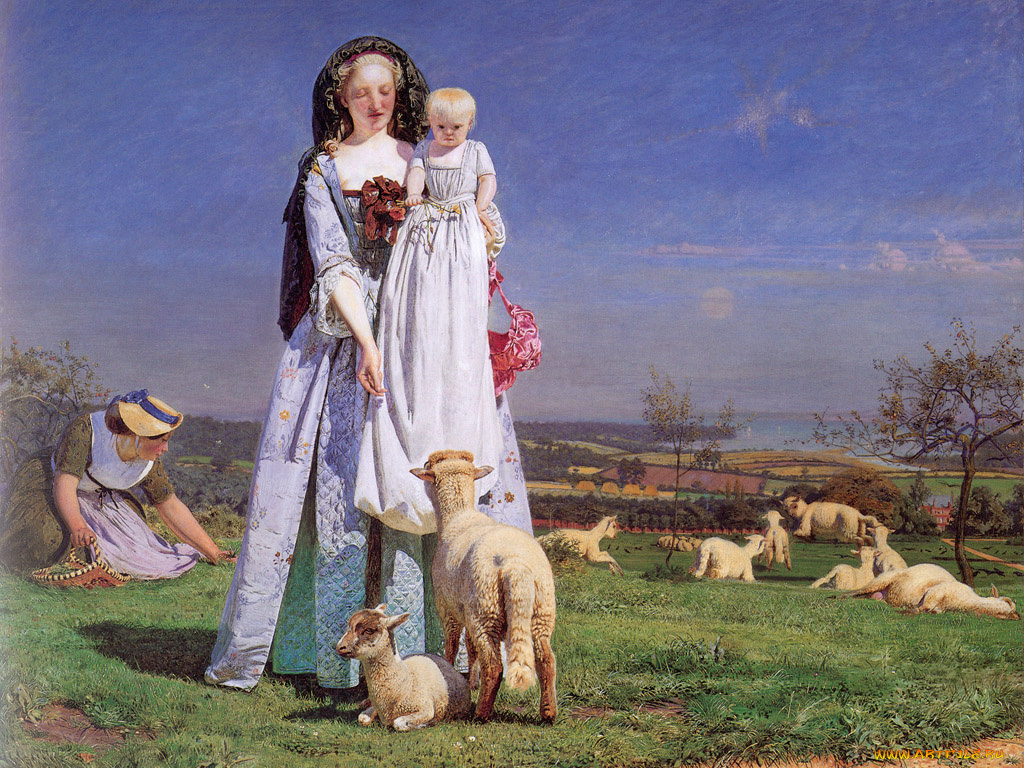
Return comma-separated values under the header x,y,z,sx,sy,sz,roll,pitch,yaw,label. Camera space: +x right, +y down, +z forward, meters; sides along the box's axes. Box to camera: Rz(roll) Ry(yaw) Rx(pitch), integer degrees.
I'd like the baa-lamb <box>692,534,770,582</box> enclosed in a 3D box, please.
x,y,z,sx,sy,sz,roll,pitch,yaw,label
2.091,1.658,8.844,0.876,0.464,0.282,4,-3,-27,baa-lamb

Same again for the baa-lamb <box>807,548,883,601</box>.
x,y,z,sx,sy,sz,roll,pitch,yaw,label
2.813,1.648,8.159,0.669,0.393,0.271,-6,0,-23,baa-lamb

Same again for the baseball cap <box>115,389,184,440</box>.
x,y,z,sx,sy,sz,roll,pitch,yaw,label
-3.074,0.293,7.837,0.479,0.184,0.493,46,33,16,baseball cap

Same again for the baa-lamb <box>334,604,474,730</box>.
x,y,z,sx,sy,sz,roll,pitch,yaw,label
-0.604,1.632,5.273,0.916,0.643,0.488,15,-17,-35,baa-lamb
